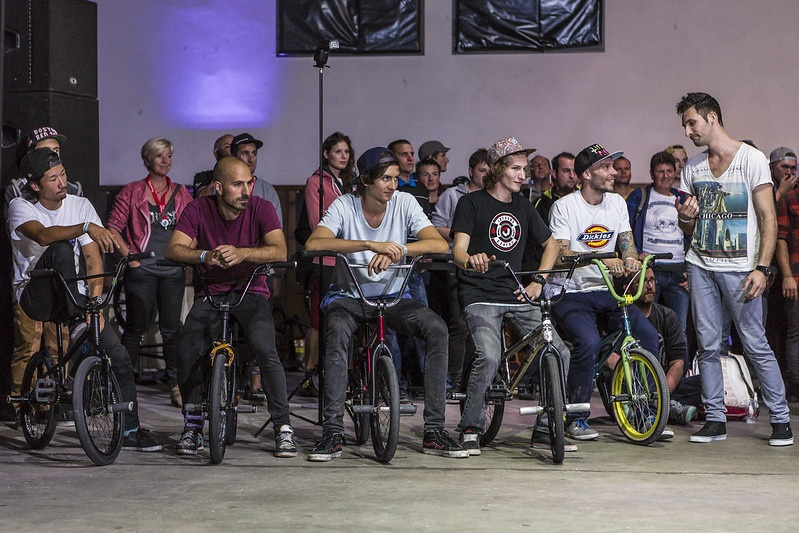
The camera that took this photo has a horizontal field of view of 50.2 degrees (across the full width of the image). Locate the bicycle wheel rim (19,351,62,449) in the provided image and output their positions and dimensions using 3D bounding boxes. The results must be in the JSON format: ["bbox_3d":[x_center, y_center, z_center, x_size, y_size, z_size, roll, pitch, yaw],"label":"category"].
[{"bbox_3d":[-2.689,1.020,6.389,0.431,0.596,0.557,5,16,-24],"label":"bicycle wheel rim"}]

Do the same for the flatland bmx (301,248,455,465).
[{"bbox_3d":[-0.122,0.618,6.271,1.078,1.610,0.541,1,-4,-6],"label":"flatland bmx"}]

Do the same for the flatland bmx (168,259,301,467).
[{"bbox_3d":[-1.179,0.712,6.233,0.840,1.408,0.622,2,-4,-16],"label":"flatland bmx"}]

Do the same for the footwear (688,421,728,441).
[{"bbox_3d":[2.495,1.342,6.926,0.353,0.144,0.127,5,-10,-26],"label":"footwear"}]

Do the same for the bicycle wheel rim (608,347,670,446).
[{"bbox_3d":[1.880,1.033,6.744,0.329,0.656,0.670,-4,26,-19],"label":"bicycle wheel rim"}]

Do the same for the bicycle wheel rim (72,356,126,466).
[{"bbox_3d":[-2.164,1.027,6.140,0.377,0.775,0.607,2,-5,-22],"label":"bicycle wheel rim"}]

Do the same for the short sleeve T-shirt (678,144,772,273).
[{"bbox_3d":[2.646,-0.492,6.987,0.736,1.004,0.358,3,6,43],"label":"short sleeve T-shirt"}]

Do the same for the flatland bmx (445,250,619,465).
[{"bbox_3d":[0.914,0.630,6.465,0.996,1.627,0.737,0,-4,11],"label":"flatland bmx"}]

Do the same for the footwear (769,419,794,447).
[{"bbox_3d":[3.038,1.325,6.757,0.255,0.186,0.124,2,-4,-13],"label":"footwear"}]
